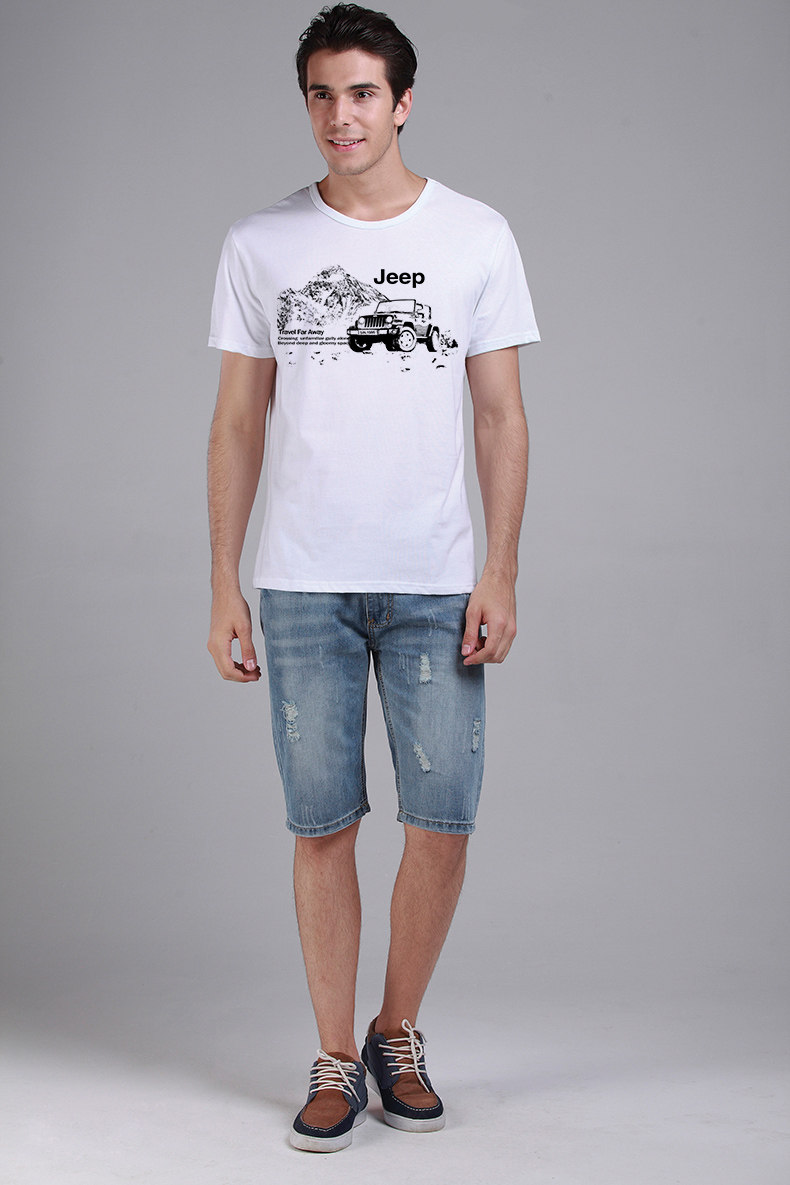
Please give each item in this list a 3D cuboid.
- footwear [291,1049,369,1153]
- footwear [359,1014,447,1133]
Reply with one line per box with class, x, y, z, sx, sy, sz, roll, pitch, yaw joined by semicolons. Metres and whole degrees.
footwear;-0.093;0.702;1.613;0.079;0.111;0.123;-2;-5;25
footwear;0.007;0.702;1.697;0.070;0.083;0.202;-1;5;-16
